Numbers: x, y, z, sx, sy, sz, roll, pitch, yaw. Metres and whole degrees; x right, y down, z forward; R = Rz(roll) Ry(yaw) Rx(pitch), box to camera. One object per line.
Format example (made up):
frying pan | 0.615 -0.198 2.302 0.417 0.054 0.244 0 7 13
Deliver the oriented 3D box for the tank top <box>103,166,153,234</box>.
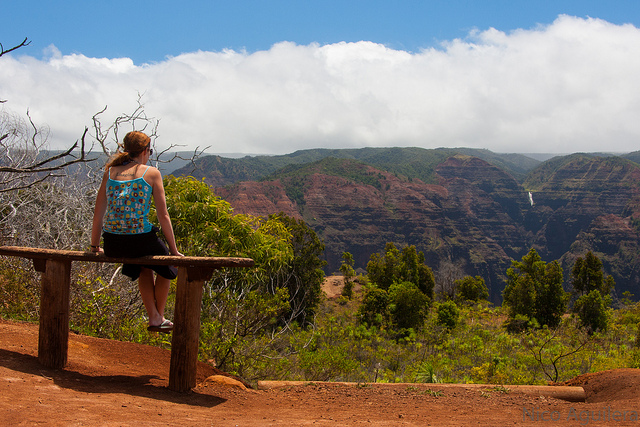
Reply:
tank top | -5.612 -0.392 20.454 1.396 1.977 0.218 2 -2 6

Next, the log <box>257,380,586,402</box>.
log | 3.287 5.598 22.658 10.602 0.423 1.025 2 -2 -1

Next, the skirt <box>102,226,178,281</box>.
skirt | -5.327 1.141 20.564 2.049 1.508 0.487 2 -2 2

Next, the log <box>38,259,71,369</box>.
log | -7.880 2.934 21.166 1.014 2.936 1.236 5 1 12
